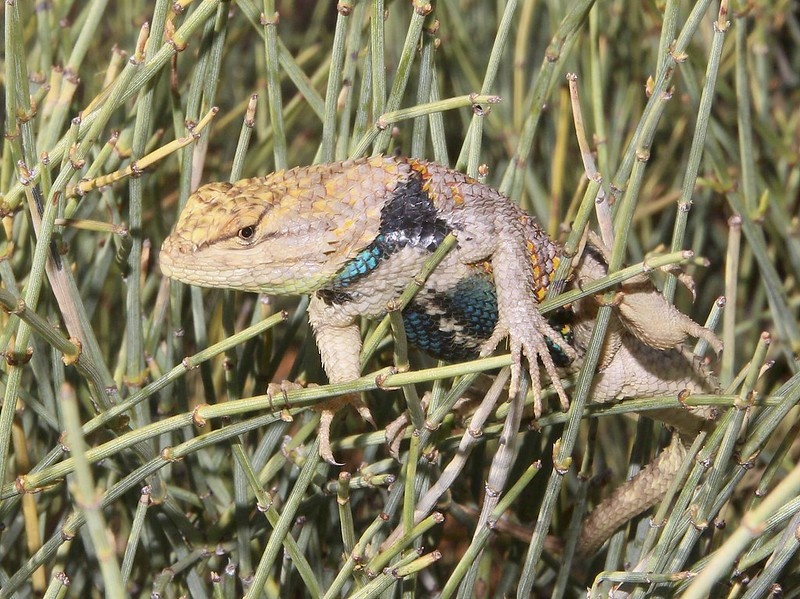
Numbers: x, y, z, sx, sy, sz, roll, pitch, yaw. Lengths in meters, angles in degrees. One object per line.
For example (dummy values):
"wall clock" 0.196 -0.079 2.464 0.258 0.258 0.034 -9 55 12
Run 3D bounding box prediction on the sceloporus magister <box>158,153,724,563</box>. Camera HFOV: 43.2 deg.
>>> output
"sceloporus magister" 0.035 0.014 1.415 0.652 0.535 0.290 10 40 -16
